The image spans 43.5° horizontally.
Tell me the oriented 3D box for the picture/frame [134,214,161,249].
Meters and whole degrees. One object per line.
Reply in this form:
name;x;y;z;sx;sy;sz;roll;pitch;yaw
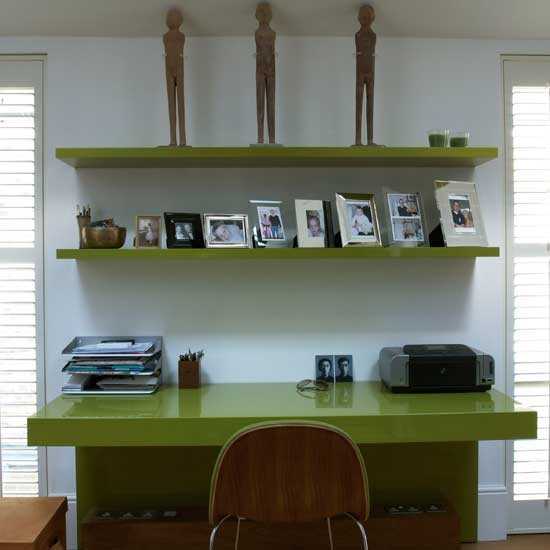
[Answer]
picture/frame;-0.582;-0.198;3.148;0.139;0.204;0.020;0;-7;-3

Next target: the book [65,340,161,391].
book;-0.754;0.415;3.225;0.448;0.239;0.263;-3;0;-8

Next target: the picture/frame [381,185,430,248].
picture/frame;0.602;-0.260;3.177;0.183;0.262;0.096;-3;0;9

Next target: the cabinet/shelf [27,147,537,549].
cabinet/shelf;-0.086;0.323;3.126;1.677;1.738;0.515;0;-2;-2

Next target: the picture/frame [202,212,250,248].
picture/frame;-0.230;-0.202;3.141;0.144;0.135;0.012;-2;-18;-10

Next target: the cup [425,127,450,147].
cup;0.749;-0.628;3.124;0.076;0.065;0.075;0;5;0

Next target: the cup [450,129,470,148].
cup;0.856;-0.624;3.151;0.063;0.055;0.070;7;8;42

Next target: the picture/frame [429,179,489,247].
picture/frame;0.842;-0.285;3.197;0.259;0.388;0.210;-1;-11;-14
